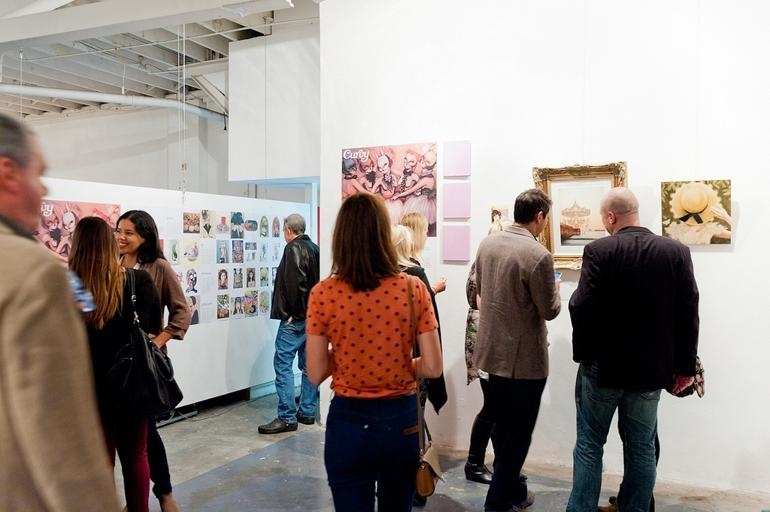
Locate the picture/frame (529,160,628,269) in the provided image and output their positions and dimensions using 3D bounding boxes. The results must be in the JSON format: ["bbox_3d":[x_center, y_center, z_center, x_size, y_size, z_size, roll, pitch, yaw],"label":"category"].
[{"bbox_3d":[1.488,-0.308,4.142,0.879,1.043,0.116,0,0,30],"label":"picture/frame"}]

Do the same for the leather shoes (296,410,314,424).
[{"bbox_3d":[-0.820,1.685,5.719,0.219,0.096,0.083,7,4,42],"label":"leather shoes"}]

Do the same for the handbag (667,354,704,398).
[{"bbox_3d":[1.958,0.815,3.533,0.133,0.347,0.253,0,-3,2],"label":"handbag"}]

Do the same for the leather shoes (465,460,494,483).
[{"bbox_3d":[0.747,1.729,4.427,0.227,0.160,0.120,-2,-1,24],"label":"leather shoes"}]

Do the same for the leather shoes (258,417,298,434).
[{"bbox_3d":[-1.066,1.688,5.502,0.345,0.138,0.152,6,-6,-19],"label":"leather shoes"}]
